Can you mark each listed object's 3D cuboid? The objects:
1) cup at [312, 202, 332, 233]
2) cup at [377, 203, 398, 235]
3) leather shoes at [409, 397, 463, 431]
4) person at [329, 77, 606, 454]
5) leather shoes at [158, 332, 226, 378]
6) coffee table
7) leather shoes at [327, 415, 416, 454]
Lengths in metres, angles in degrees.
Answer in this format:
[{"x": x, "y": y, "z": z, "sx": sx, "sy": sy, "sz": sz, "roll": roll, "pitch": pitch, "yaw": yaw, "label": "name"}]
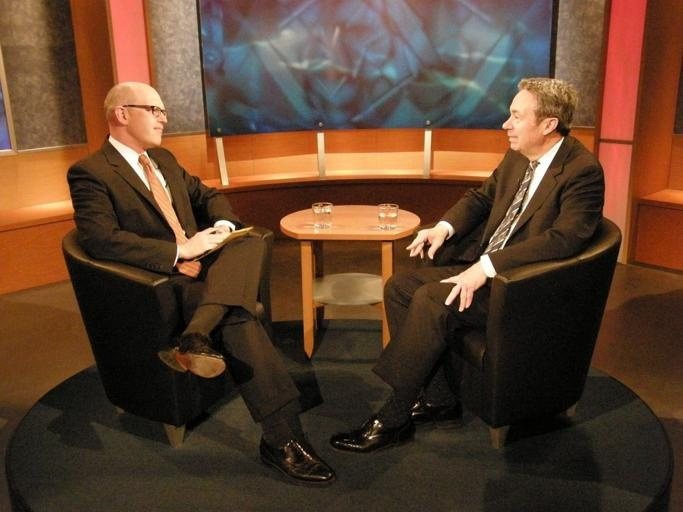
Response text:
[{"x": -0.105, "y": -0.223, "z": 3.286, "sx": 0.152, "sy": 0.151, "sz": 0.142, "roll": -1, "pitch": 16, "yaw": 0, "label": "cup"}, {"x": 0.223, "y": -0.217, "z": 3.215, "sx": 0.141, "sy": 0.141, "sz": 0.135, "roll": 0, "pitch": 9, "yaw": 0, "label": "cup"}, {"x": 0.439, "y": 0.743, "z": 2.702, "sx": 0.305, "sy": 0.109, "sz": 0.104, "roll": 0, "pitch": 27, "yaw": -3, "label": "leather shoes"}, {"x": 0.585, "y": 0.030, "z": 2.738, "sx": 1.272, "sy": 1.613, "sz": 0.832, "roll": -4, "pitch": 15, "yaw": -17, "label": "person"}, {"x": -0.573, "y": 0.395, "z": 2.317, "sx": 0.302, "sy": 0.124, "sz": 0.132, "roll": 17, "pitch": 11, "yaw": 13, "label": "leather shoes"}, {"x": 0.030, "y": 0.141, "z": 3.638, "sx": 0.897, "sy": 0.757, "sz": 0.925, "roll": -1, "pitch": 12, "yaw": 1, "label": "coffee table"}, {"x": 0.130, "y": 0.773, "z": 2.571, "sx": 0.381, "sy": 0.130, "sz": 0.140, "roll": -2, "pitch": 5, "yaw": -15, "label": "leather shoes"}]
